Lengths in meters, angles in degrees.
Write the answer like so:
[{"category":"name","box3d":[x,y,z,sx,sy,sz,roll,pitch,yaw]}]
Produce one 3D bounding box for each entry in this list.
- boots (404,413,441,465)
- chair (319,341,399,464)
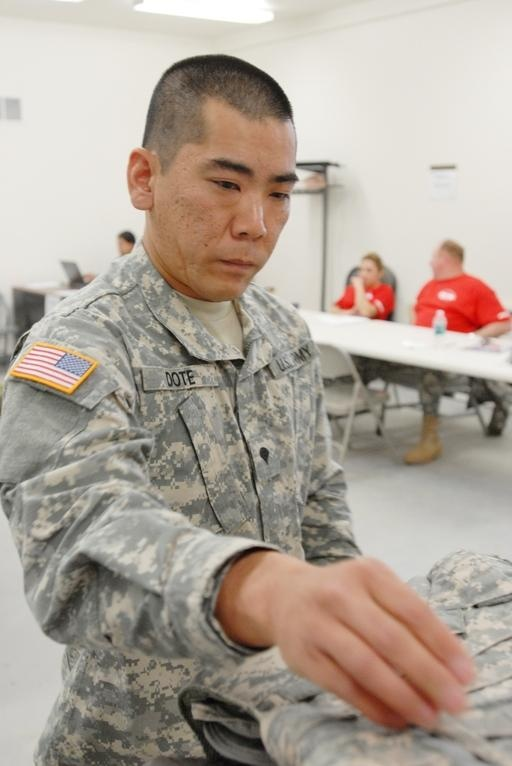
[{"category":"boots","box3d":[0.763,0.258,3.216,0.243,0.212,0.106,-15,15,-43]},{"category":"chair","box3d":[0.527,0.075,3.309,0.373,0.438,0.373,-15,20,-31]}]
